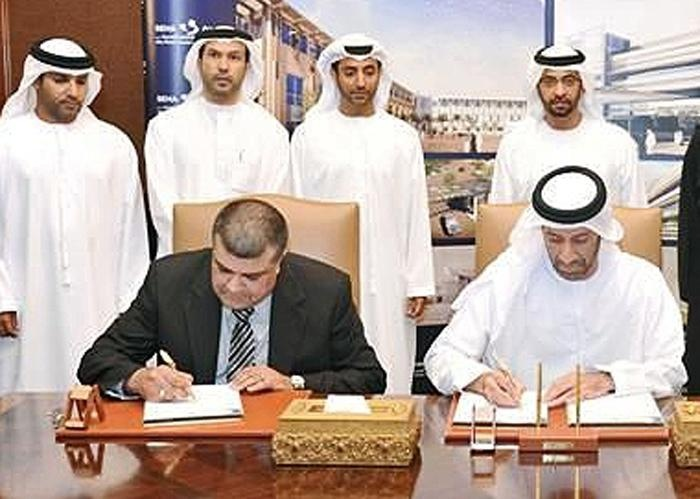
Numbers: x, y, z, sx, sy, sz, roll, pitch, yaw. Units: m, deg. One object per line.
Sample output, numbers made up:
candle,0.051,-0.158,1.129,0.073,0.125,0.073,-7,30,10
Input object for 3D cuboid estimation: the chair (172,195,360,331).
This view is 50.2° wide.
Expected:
chair,-0.370,0.047,3.469,0.493,0.743,0.580,0,-3,0

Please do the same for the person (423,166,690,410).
person,0.898,0.154,3.213,1.120,1.029,0.926,1,5,-1

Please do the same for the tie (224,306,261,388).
tie,-0.464,0.406,3.173,0.126,0.319,0.107,1,5,-9

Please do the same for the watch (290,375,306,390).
watch,-0.209,0.533,2.973,0.049,0.023,0.067,3,7,-2

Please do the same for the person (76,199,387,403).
person,-0.474,0.195,3.125,1.235,0.816,0.640,0,5,-22
